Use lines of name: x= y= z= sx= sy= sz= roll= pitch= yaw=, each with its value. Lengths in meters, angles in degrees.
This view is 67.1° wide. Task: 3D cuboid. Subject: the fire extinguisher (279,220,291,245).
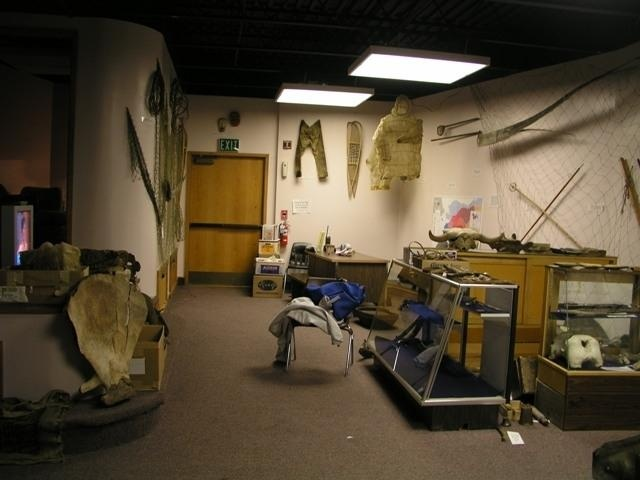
fire extinguisher: x=-0.657 y=-0.095 z=8.822 sx=0.177 sy=0.474 sz=0.167 roll=1 pitch=8 yaw=-5

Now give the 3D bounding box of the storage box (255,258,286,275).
storage box: x=-0.879 y=0.451 z=8.253 sx=0.508 sy=0.255 sz=0.212 roll=2 pitch=8 yaw=0

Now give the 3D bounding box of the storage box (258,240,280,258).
storage box: x=-0.918 y=0.162 z=8.503 sx=0.271 sy=0.238 sz=0.296 roll=0 pitch=-2 yaw=-9

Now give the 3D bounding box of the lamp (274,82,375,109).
lamp: x=0.057 y=-2.115 z=7.010 sx=1.381 sy=0.186 sz=0.739 roll=2 pitch=9 yaw=-1

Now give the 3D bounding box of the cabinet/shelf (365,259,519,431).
cabinet/shelf: x=1.119 y=0.905 z=4.837 sx=0.795 sy=1.325 sz=1.643 roll=1 pitch=5 yaw=-13

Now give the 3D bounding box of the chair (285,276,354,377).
chair: x=-0.023 y=0.951 z=5.370 sx=0.598 sy=0.964 sz=0.631 roll=6 pitch=11 yaw=6

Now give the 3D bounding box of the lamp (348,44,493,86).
lamp: x=1.117 y=-2.023 z=5.598 sx=1.428 sy=0.204 sz=0.791 roll=1 pitch=9 yaw=-11

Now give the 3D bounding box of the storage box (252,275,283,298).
storage box: x=-0.893 y=0.785 z=8.185 sx=0.368 sy=0.286 sz=0.406 roll=1 pitch=3 yaw=-1

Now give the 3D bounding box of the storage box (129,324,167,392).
storage box: x=-1.556 y=0.924 z=4.228 sx=0.388 sy=0.426 sz=0.681 roll=3 pitch=20 yaw=-16
